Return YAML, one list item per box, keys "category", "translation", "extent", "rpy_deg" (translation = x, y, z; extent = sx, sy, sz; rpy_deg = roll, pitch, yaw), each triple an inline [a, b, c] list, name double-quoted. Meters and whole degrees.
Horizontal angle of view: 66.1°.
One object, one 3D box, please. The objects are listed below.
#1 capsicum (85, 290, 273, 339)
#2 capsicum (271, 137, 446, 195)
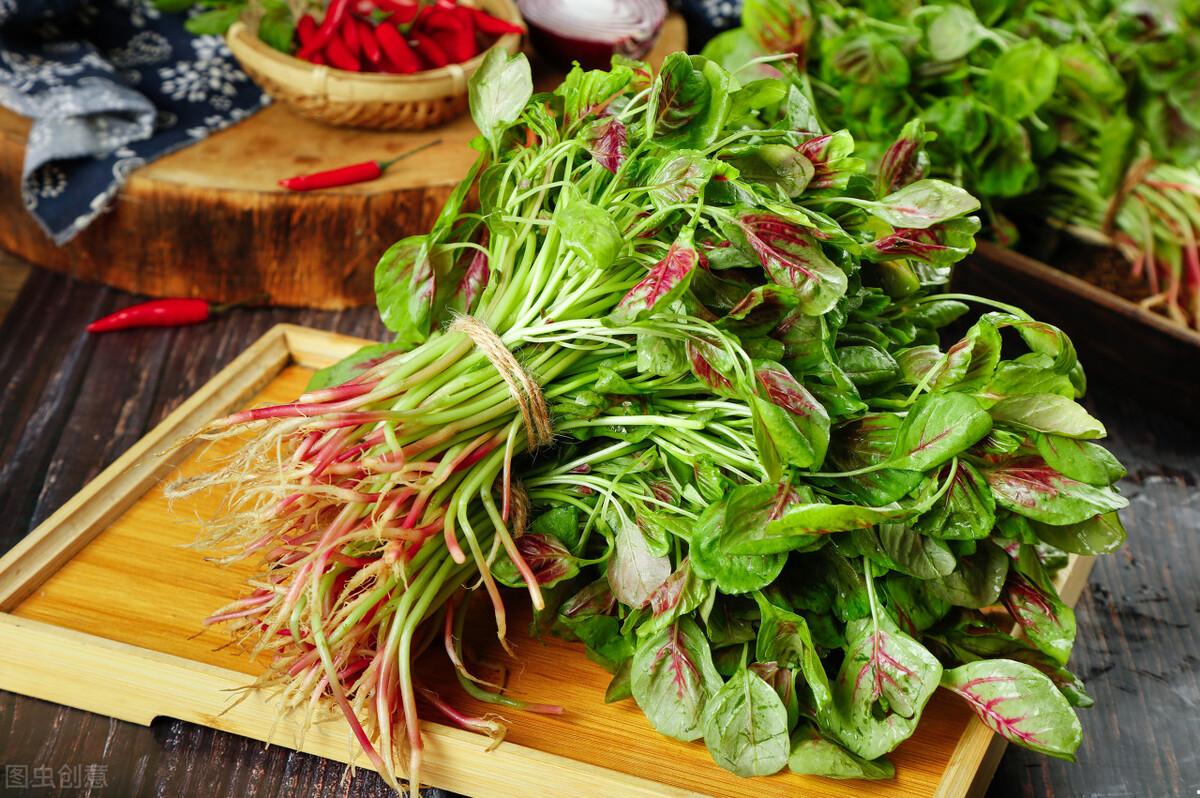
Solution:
- category: "capsicum"
  translation: [-0.912, -0.180, 1.967]
  extent: [0.317, 0.051, 0.046]
  rpy_deg: [-12, 68, -31]
- category: "capsicum"
  translation: [-0.524, -0.497, 1.976]
  extent: [0.303, 0.037, 0.044]
  rpy_deg: [-27, 21, -25]
